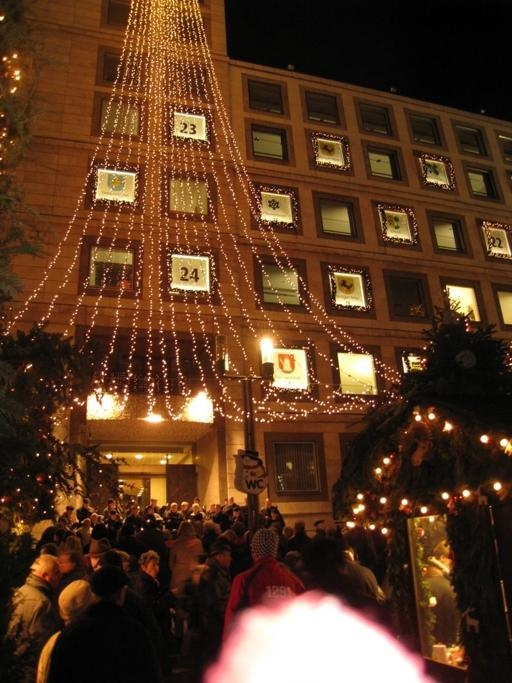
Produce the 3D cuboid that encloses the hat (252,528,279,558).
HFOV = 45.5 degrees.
[{"bbox_3d":[0.078,1.747,5.272,0.210,0.236,0.272,4,-6,-9],"label":"hat"}]
